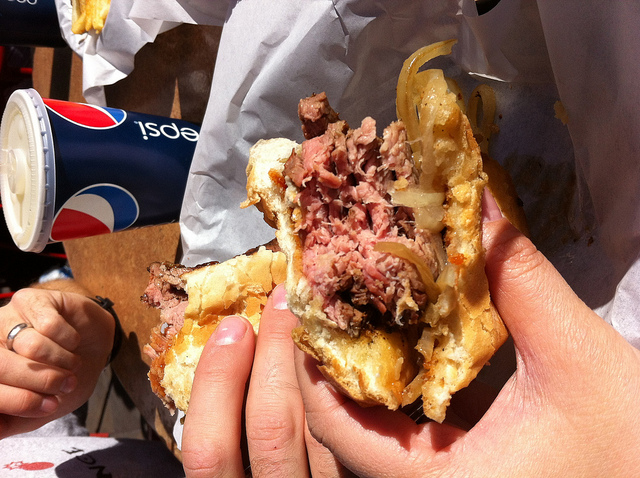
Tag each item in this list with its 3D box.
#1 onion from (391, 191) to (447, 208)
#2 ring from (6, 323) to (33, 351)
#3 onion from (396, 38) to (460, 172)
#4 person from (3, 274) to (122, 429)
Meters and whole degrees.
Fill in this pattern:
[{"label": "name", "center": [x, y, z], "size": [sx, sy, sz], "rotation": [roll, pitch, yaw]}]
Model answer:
[{"label": "onion", "center": [0.323, -0.132, 2.014], "size": [0.174, 0.059, 0.045], "rotation": [10, 18, 7]}, {"label": "ring", "center": [-1.284, 0.423, 2.638], "size": [0.024, 0.118, 0.098], "rotation": [30, 13, 17]}, {"label": "onion", "center": [0.343, -0.460, 2.088], "size": [0.126, 0.427, 0.197], "rotation": [14, 19, 30]}, {"label": "person", "center": [-1.239, 0.500, 2.947], "size": [0.377, 0.542, 0.813], "rotation": [-3, 5, 7]}]
